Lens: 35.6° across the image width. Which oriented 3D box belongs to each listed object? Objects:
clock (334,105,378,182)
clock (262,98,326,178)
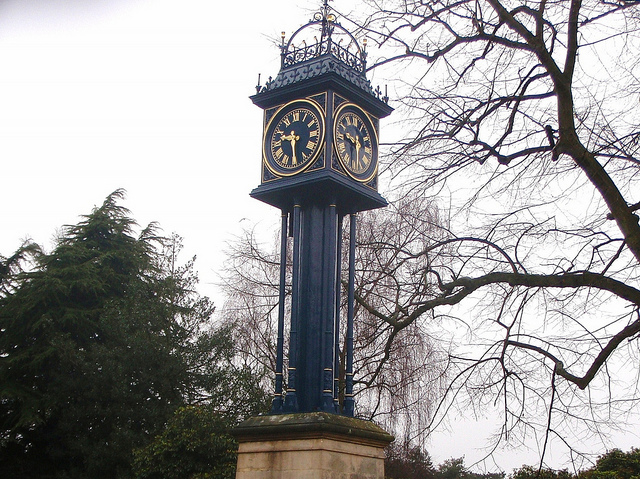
[{"bbox_3d":[0.907,-2.435,25.816,0.089,2.092,1.694,-12,-16,34],"label":"clock"},{"bbox_3d":[-0.633,-2.579,25.686,1.871,2.061,0.125,-11,-22,30],"label":"clock"}]
